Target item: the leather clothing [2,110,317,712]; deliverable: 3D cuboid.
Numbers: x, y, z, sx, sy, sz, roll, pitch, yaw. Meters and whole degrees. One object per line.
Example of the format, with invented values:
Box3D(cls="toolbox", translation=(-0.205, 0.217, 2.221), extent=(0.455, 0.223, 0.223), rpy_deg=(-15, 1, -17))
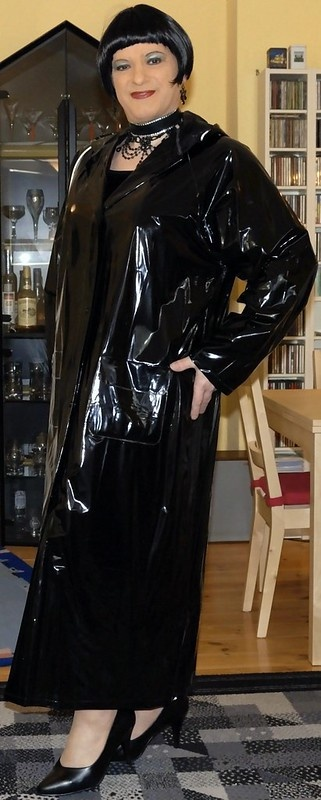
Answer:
Box3D(cls="leather clothing", translation=(0.005, 0.021, 1.105), extent=(0.525, 1.025, 0.239), rpy_deg=(1, 0, 20))
